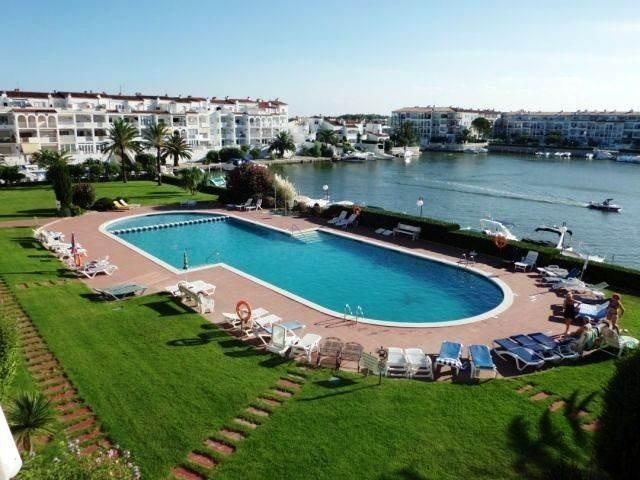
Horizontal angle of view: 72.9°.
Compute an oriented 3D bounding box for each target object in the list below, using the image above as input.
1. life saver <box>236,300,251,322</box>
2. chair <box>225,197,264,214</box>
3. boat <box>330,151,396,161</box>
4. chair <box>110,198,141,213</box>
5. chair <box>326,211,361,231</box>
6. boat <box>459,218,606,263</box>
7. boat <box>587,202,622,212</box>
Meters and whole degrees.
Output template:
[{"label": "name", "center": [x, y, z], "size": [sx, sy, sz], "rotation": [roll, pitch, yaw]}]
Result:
[{"label": "life saver", "center": [-3.237, 3.068, 18.487], "size": [1.105, 0.920, 0.178], "rotation": [5, 8, 40]}, {"label": "chair", "center": [-7.453, -3.795, 44.077], "size": [3.460, 1.354, 2.302], "rotation": [3, 12, 3]}, {"label": "boat", "center": [12.770, -23.783, 124.042], "size": [12.005, 3.124, 19.477], "rotation": [9, 13, 31]}, {"label": "chair", "center": [-19.276, -3.443, 42.720], "size": [2.379, 0.743, 1.319], "rotation": [5, 14, 22]}, {"label": "chair", "center": [2.038, -1.846, 37.109], "size": [1.779, 1.390, 1.907], "rotation": [-8, 16, -41]}, {"label": "boat", "center": [17.218, 0.045, 35.011], "size": [10.530, 2.072, 2.567], "rotation": [16, 27, 38]}, {"label": "boat", "center": [39.979, -4.581, 60.950], "size": [3.156, 0.966, 2.012], "rotation": [8, 10, 41]}]
